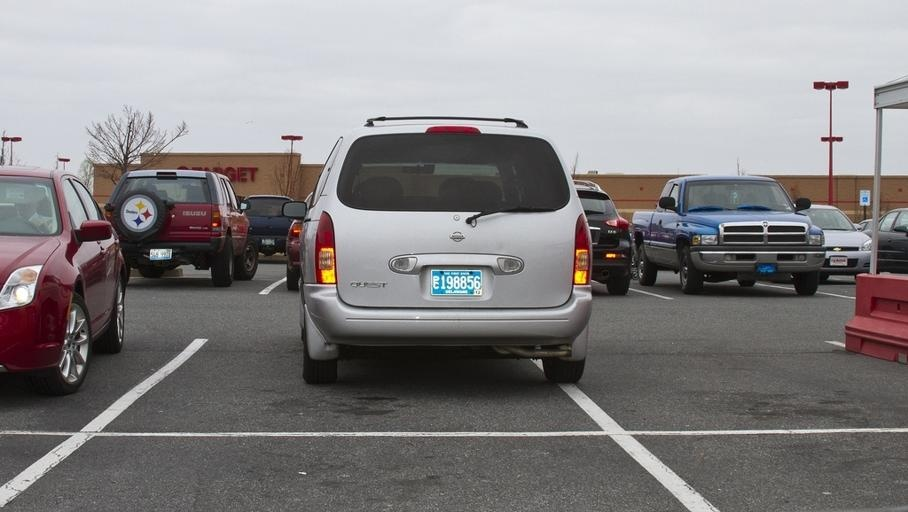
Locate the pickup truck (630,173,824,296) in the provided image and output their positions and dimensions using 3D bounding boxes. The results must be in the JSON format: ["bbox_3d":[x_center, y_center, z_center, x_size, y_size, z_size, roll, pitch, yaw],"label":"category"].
[{"bbox_3d":[6.636,-0.601,19.302,3.399,2.116,5.847,0,-3,-8],"label":"pickup truck"}]

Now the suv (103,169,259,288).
[{"bbox_3d":[-6.241,-0.620,18.341,1.932,2.797,3.689,3,6,21],"label":"suv"}]
